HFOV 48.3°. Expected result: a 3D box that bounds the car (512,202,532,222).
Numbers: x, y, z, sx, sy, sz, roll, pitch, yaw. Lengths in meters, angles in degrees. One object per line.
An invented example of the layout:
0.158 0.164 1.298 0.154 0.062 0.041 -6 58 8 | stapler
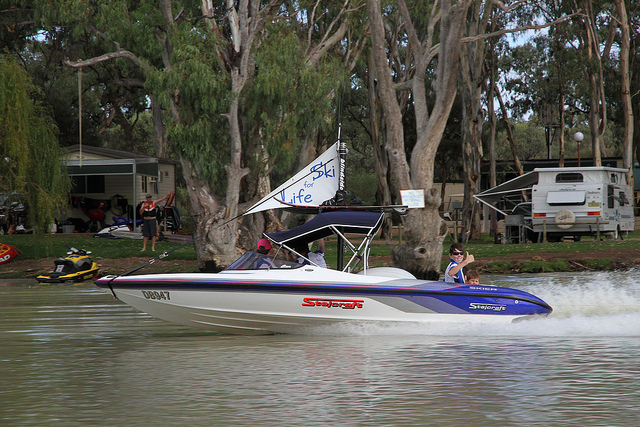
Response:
9.237 0.013 32.509 0.824 0.677 1.839 0 5 14 | car

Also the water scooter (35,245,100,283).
-8.318 1.806 23.745 1.036 0.978 1.840 3 7 22 | water scooter

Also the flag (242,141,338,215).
-0.484 -0.834 16.447 0.343 1.652 3.726 9 8 32 | flag
